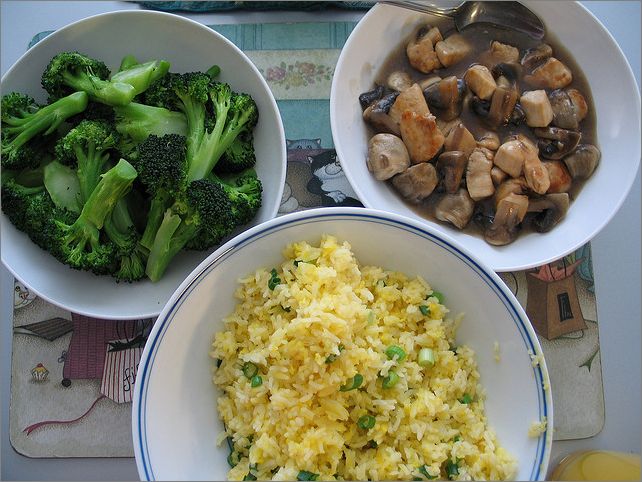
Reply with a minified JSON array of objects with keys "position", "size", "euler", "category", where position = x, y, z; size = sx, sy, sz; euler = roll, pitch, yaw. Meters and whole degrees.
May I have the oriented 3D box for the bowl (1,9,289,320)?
[{"position":[-0.997,-0.540,3.292],"size":[1.336,0.403,1.786],"euler":[-3,98,-8],"category":"bowl"}]
